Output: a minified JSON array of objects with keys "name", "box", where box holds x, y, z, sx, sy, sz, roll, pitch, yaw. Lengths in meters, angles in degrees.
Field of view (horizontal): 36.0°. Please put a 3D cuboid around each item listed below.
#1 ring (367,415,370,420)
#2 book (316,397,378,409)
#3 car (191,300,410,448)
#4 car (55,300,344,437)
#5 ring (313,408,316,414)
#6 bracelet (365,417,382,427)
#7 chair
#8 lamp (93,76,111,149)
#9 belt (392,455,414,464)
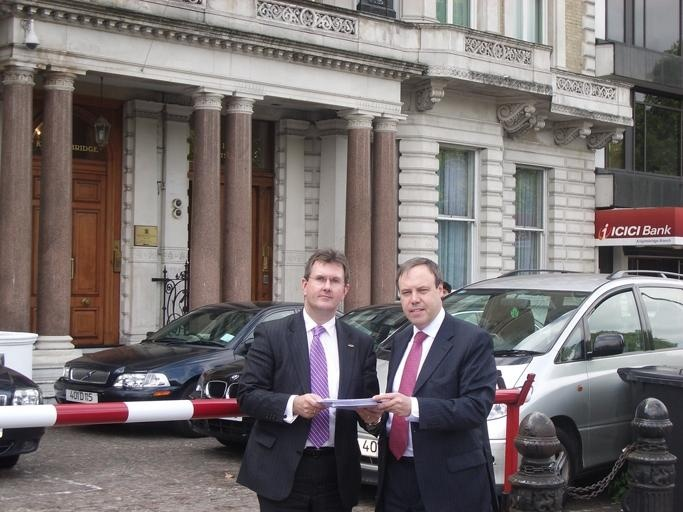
[{"name":"ring","box":[0.212,1.338,8.621,0.027,0.024,0.013,0,-1,0]},{"name":"book","box":[0.073,1.180,8.454,0.686,0.077,0.538,1,-6,1]},{"name":"car","box":[-0.203,1.531,13.999,3.281,1.446,1.389,1,-4,-35]},{"name":"car","box":[-1.904,1.567,15.553,3.824,1.279,1.729,3,-4,-41]},{"name":"ring","box":[-0.215,1.259,8.509,0.022,0.030,0.010,0,-1,-25]},{"name":"bracelet","box":[0.259,1.374,8.671,0.116,0.048,0.094,0,-15,31]},{"name":"chair","box":[2.229,0.948,12.040,0.574,0.402,0.896,4,23,35]},{"name":"lamp","box":[-4.880,-2.899,21.404,0.352,1.307,1.133,0,-1,-13]},{"name":"belt","box":[0.520,1.713,8.828,0.099,0.044,0.113,-1,1,18]}]
